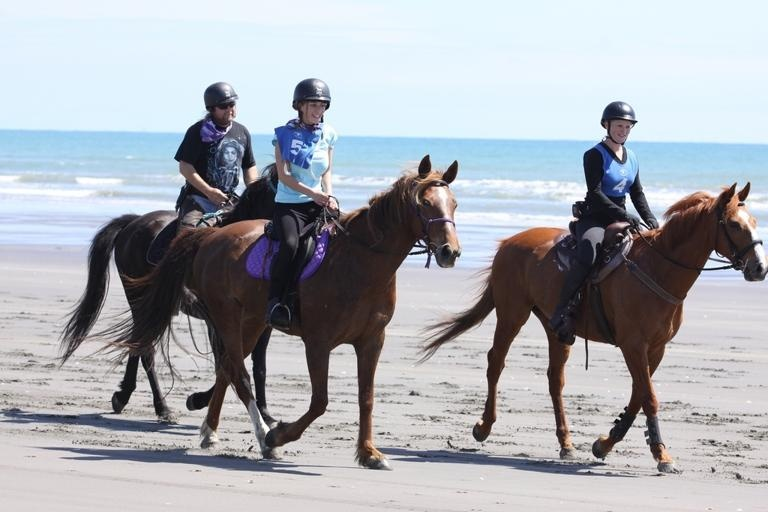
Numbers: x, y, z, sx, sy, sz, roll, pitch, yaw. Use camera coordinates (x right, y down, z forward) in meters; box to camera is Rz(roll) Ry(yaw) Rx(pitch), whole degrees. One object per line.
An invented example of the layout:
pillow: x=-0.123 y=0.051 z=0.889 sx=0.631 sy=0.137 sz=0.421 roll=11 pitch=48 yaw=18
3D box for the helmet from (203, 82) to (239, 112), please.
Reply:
helmet: x=-2.086 y=-2.015 z=14.837 sx=0.386 sy=0.355 sz=0.260 roll=5 pitch=7 yaw=0

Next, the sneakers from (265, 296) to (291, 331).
sneakers: x=-1.179 y=0.677 z=13.228 sx=0.293 sy=0.378 sz=0.225 roll=4 pitch=7 yaw=-7

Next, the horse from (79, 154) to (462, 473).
horse: x=-1.259 y=0.893 z=13.937 sx=5.531 sy=3.441 sz=1.194 roll=-2 pitch=-10 yaw=35

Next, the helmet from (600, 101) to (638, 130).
helmet: x=2.853 y=-1.702 z=14.177 sx=0.403 sy=0.310 sz=0.288 roll=7 pitch=8 yaw=20

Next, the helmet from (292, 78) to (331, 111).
helmet: x=-0.802 y=-1.842 z=13.298 sx=0.383 sy=0.328 sz=0.257 roll=3 pitch=7 yaw=-15
